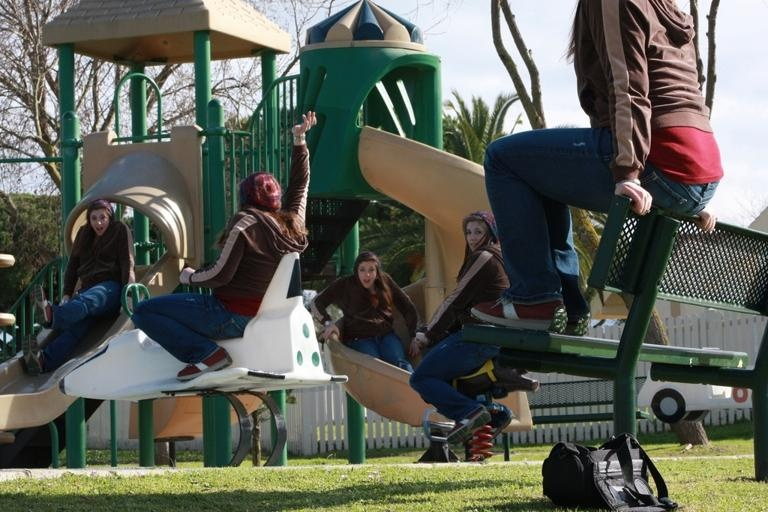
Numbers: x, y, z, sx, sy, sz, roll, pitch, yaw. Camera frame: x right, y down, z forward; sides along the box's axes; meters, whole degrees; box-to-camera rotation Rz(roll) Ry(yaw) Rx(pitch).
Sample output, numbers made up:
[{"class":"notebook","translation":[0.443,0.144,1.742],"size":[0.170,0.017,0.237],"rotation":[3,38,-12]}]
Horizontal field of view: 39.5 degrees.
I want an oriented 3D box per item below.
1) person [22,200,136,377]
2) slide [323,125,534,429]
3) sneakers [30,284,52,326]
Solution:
[{"class":"person","translation":[-3.547,0.359,12.807],"size":[1.169,2.102,0.733],"rotation":[3,-7,-16]},{"class":"slide","translation":[0.672,0.444,15.157],"size":[3.227,4.927,3.473],"rotation":[2,-7,8]},{"class":"sneakers","translation":[-3.947,0.586,12.470],"size":[0.199,0.583,0.236],"rotation":[0,12,12]}]
